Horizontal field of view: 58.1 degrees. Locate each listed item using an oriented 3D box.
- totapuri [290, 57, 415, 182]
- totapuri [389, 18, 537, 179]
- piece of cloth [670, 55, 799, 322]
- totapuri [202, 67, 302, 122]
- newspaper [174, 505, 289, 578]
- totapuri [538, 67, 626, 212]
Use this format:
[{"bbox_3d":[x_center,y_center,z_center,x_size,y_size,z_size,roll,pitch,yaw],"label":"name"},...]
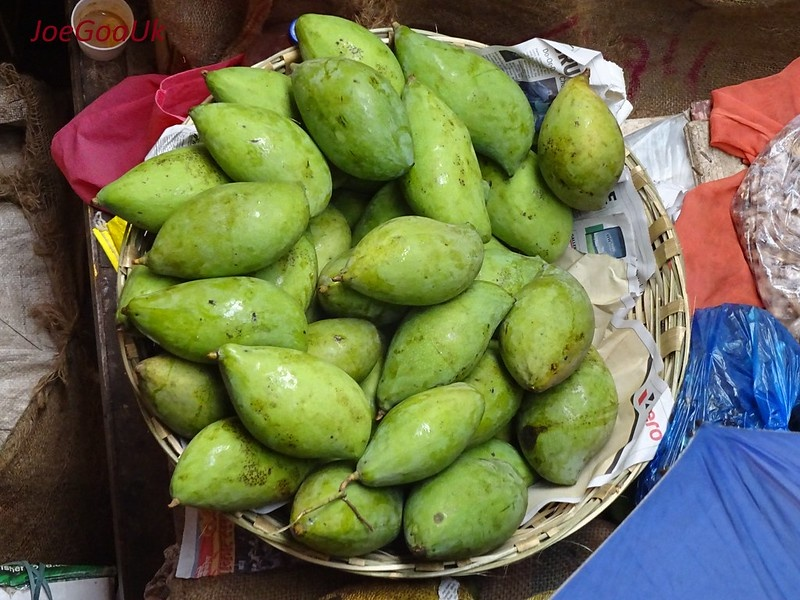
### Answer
[{"bbox_3d":[-0.079,-0.292,1.308,0.241,0.145,0.157,34,66,-30],"label":"totapuri"},{"bbox_3d":[0.085,-0.394,1.413,0.133,0.155,0.340,-56,132,-21],"label":"totapuri"},{"bbox_3d":[0.786,-0.274,1.819,0.403,0.172,0.605,-5,78,6],"label":"piece of cloth"},{"bbox_3d":[-0.265,-0.376,1.288,0.161,0.082,0.093,16,72,-11],"label":"totapuri"},{"bbox_3d":[-0.361,0.523,1.536,0.211,0.044,0.151,16,81,10],"label":"newspaper"},{"bbox_3d":[0.340,-0.285,1.405,0.154,0.144,0.250,-2,74,-57],"label":"totapuri"}]
